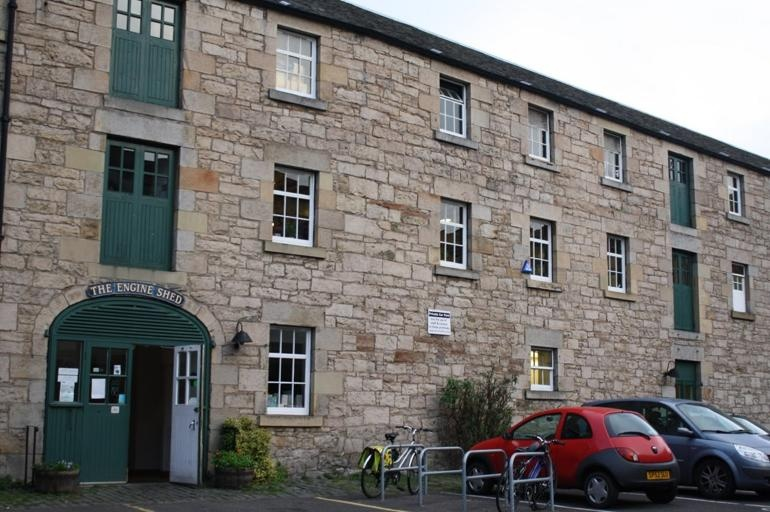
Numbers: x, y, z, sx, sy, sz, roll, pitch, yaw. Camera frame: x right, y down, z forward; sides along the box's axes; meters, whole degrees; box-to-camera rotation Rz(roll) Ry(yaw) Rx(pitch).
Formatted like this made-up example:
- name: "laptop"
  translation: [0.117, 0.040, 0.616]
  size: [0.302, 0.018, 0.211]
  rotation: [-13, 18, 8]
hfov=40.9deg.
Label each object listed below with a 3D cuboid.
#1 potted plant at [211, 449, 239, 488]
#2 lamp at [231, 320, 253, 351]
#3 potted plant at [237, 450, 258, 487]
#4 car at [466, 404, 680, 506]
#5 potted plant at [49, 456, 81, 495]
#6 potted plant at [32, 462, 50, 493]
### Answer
- name: "potted plant"
  translation: [-3.552, 4.772, 23.205]
  size: [0.819, 0.818, 0.664]
  rotation: [4, -20, -12]
- name: "lamp"
  translation: [-3.328, 1.826, 24.244]
  size: [0.486, 0.698, 0.429]
  rotation: [2, -14, -12]
- name: "potted plant"
  translation: [-3.079, 4.832, 23.202]
  size: [0.618, 0.580, 0.592]
  rotation: [4, -11, -16]
- name: "car"
  translation: [4.085, 4.250, 22.638]
  size: [3.916, 1.611, 2.270]
  rotation: [-4, -12, 41]
- name: "potted plant"
  translation: [-6.824, 4.754, 22.225]
  size: [0.675, 0.599, 0.655]
  rotation: [-2, 8, -25]
- name: "potted plant"
  translation: [-7.259, 4.710, 21.875]
  size: [0.536, 0.565, 0.515]
  rotation: [2, -8, -20]
